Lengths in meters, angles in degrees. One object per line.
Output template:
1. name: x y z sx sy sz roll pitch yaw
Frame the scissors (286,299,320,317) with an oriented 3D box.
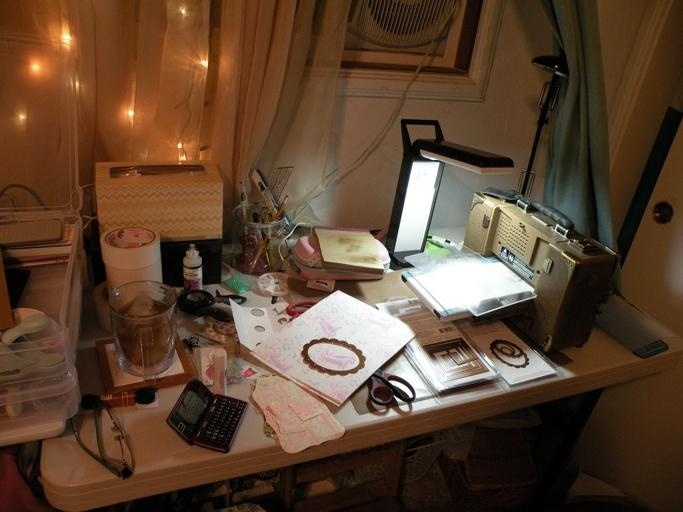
1. scissors: -0.112 0.141 1.345 0.048 0.012 0.048 -16 21 -33

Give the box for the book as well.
1. book: 0.028 -0.019 1.493 0.274 0.127 0.230 2 29 -4

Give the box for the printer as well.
1. printer: 0.461 0.028 1.361 0.469 0.383 0.513 -10 42 -26

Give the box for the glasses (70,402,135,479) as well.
1. glasses: -0.472 0.360 0.983 0.090 0.080 0.190 -17 30 -33

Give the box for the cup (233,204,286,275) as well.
1. cup: -0.231 -0.044 1.454 0.125 0.220 0.090 -15 33 -32

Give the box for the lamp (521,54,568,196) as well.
1. lamp: 0.692 -0.454 1.720 0.113 0.479 0.302 9 25 19

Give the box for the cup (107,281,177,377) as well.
1. cup: -0.429 0.154 1.156 0.150 0.219 0.179 -7 30 -21
